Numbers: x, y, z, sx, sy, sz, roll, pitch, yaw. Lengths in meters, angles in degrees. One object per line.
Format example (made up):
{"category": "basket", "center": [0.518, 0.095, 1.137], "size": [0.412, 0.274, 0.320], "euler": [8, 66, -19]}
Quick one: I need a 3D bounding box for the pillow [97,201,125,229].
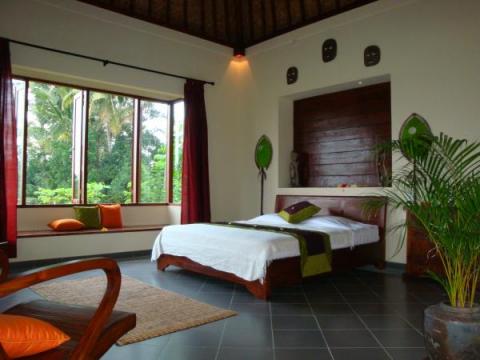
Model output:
{"category": "pillow", "center": [-2.500, 0.681, 6.246], "size": [0.440, 0.510, 0.189], "euler": [-1, -19, -34]}

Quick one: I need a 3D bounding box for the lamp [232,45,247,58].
{"category": "lamp", "center": [-0.014, -2.835, 7.276], "size": [0.216, 0.227, 0.218], "euler": [6, 7, 43]}

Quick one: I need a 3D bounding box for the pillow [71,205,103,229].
{"category": "pillow", "center": [-2.801, 0.666, 6.071], "size": [0.441, 0.469, 0.176], "euler": [-5, 4, 5]}

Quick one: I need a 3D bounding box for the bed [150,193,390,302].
{"category": "bed", "center": [1.044, 0.935, 4.811], "size": [2.244, 1.023, 1.798], "euler": [-1, 1, -45]}
